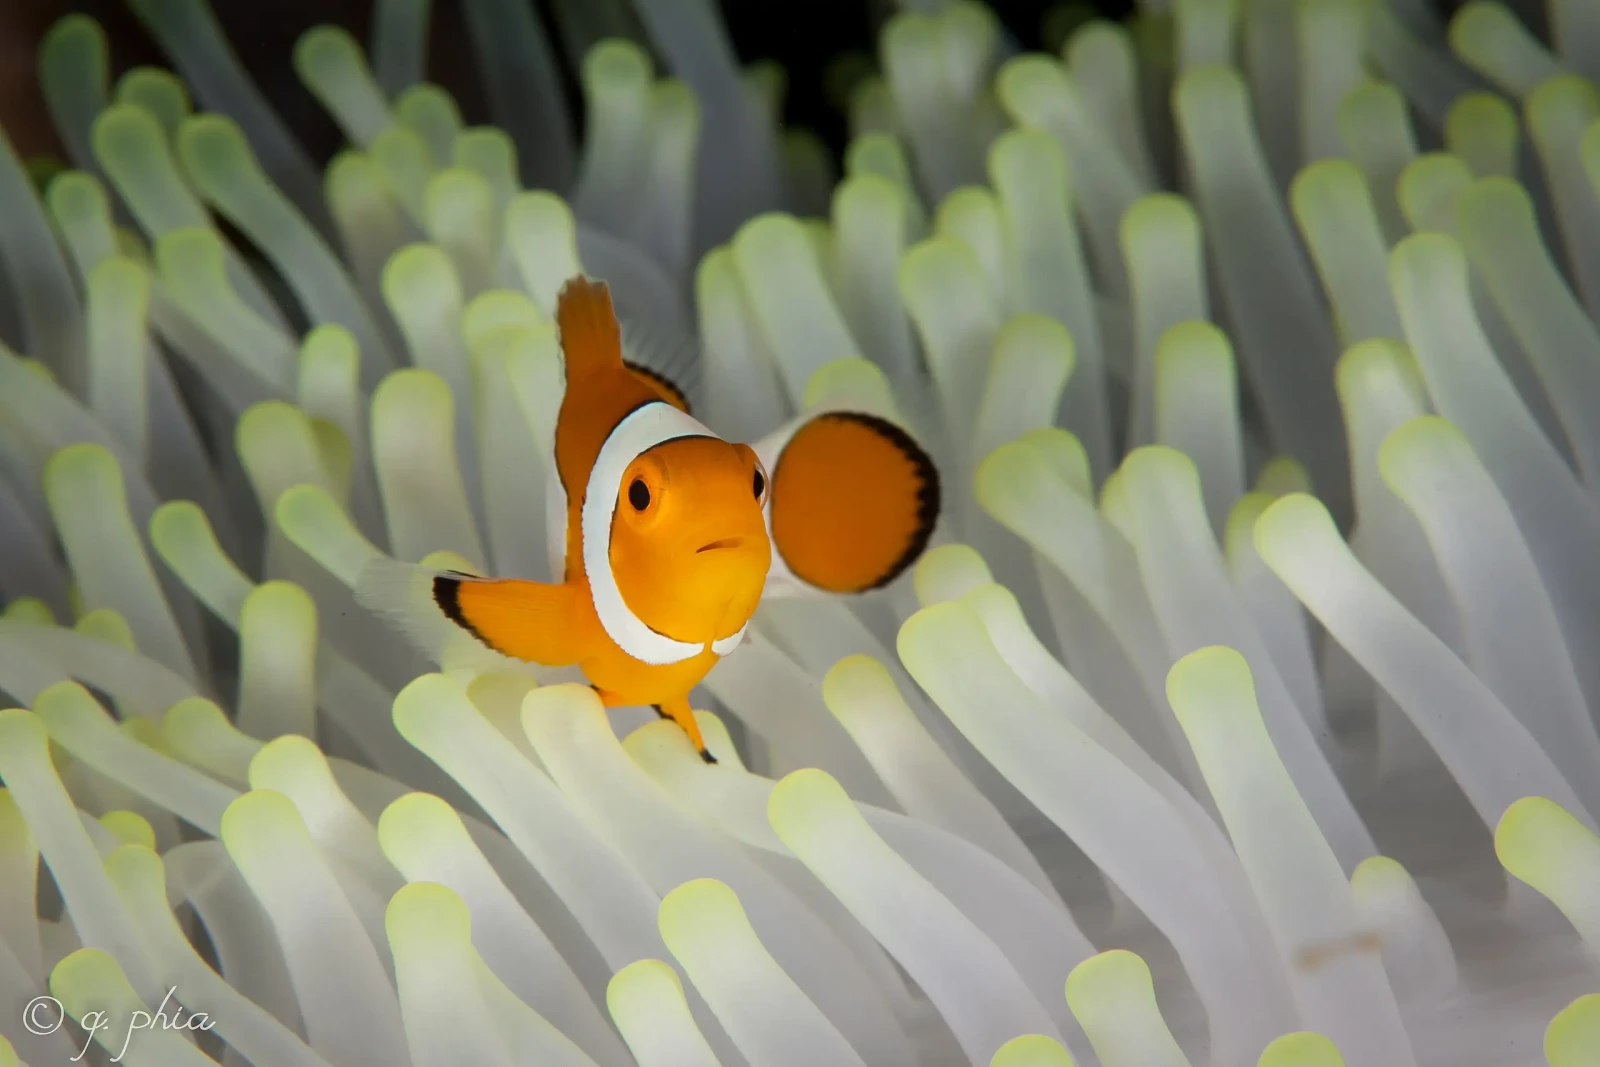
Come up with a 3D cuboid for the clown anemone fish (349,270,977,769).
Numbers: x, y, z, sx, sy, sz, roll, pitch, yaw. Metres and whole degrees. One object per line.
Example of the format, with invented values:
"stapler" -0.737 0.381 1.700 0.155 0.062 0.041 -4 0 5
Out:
"clown anemone fish" -0.043 -0.006 1.376 0.370 0.333 0.558 -8 13 15
